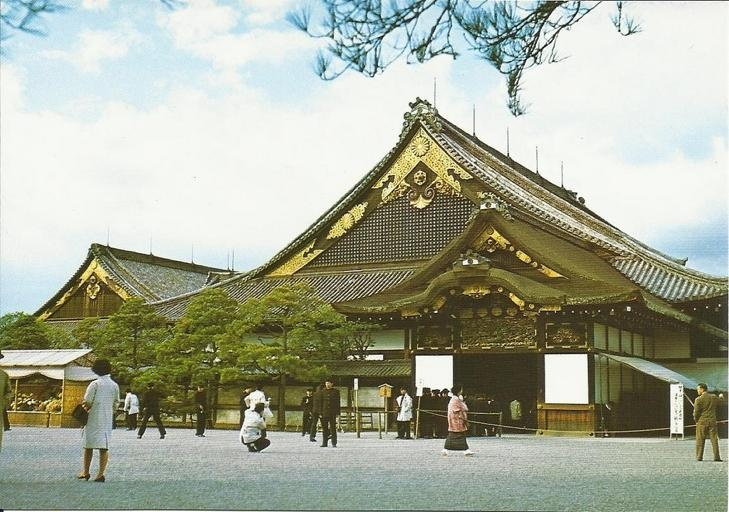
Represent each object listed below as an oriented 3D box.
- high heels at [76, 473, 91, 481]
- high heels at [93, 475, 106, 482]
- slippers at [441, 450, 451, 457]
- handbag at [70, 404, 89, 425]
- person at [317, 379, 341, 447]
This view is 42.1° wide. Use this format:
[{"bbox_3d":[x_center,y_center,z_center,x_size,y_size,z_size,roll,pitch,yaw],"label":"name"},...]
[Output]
[{"bbox_3d":[-5.165,4.074,17.430,0.205,0.079,0.149,0,-4,19],"label":"high heels"},{"bbox_3d":[-4.840,4.083,17.284,0.191,0.125,0.252,5,-14,-14],"label":"high heels"},{"bbox_3d":[1.807,4.444,21.266,0.258,0.197,0.106,-1,2,-2],"label":"slippers"},{"bbox_3d":[-5.282,2.950,17.494,0.236,0.391,0.506,10,-17,-27],"label":"handbag"},{"bbox_3d":[-0.908,3.970,23.742,0.529,1.670,1.268,3,-15,-2],"label":"person"}]
